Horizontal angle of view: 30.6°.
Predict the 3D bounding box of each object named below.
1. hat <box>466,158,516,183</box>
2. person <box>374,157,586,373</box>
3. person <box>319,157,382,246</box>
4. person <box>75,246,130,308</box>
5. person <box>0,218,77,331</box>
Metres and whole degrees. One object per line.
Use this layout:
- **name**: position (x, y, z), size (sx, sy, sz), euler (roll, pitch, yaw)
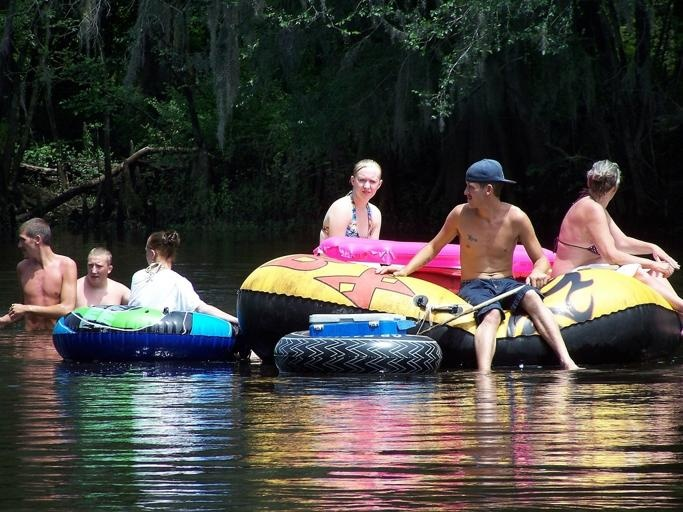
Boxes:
- **hat**: position (1.103, -0.629, 9.280), size (0.355, 0.134, 0.210), euler (3, 6, 1)
- **person**: position (1.083, 0.051, 9.326), size (1.299, 1.540, 0.815), euler (-1, 8, 2)
- **person**: position (0.061, -0.459, 10.225), size (0.487, 0.661, 0.573), euler (-2, 8, -1)
- **person**: position (-2.331, 0.207, 12.203), size (0.803, 0.471, 0.323), euler (1, 0, 0)
- **person**: position (-2.493, 0.115, 10.284), size (0.604, 0.855, 0.617), euler (-2, 8, -3)
